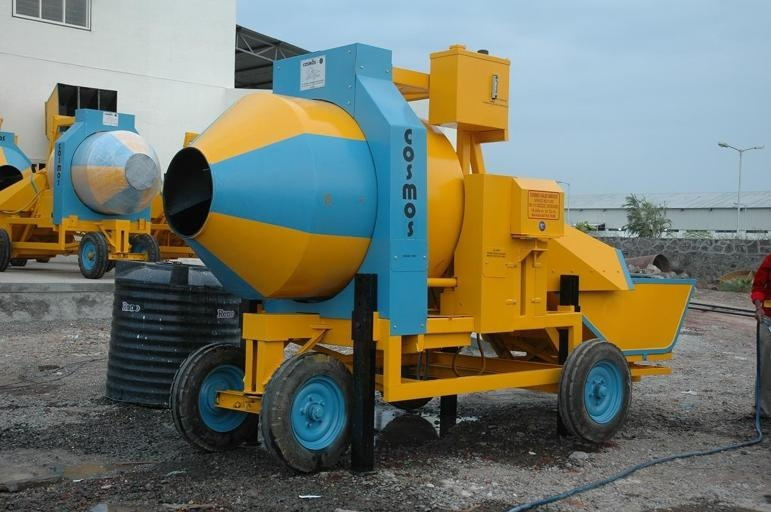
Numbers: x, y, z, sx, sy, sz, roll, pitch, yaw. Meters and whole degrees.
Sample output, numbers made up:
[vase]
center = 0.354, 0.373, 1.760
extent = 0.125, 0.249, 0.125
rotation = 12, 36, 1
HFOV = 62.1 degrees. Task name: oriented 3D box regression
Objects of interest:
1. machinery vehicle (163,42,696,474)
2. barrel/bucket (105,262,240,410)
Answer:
[machinery vehicle]
center = 0.519, 0.032, 6.894
extent = 5.301, 3.776, 2.709
rotation = 2, -2, -35
[barrel/bucket]
center = -2.444, 0.898, 7.534
extent = 1.475, 1.710, 1.520
rotation = 2, -2, 0
